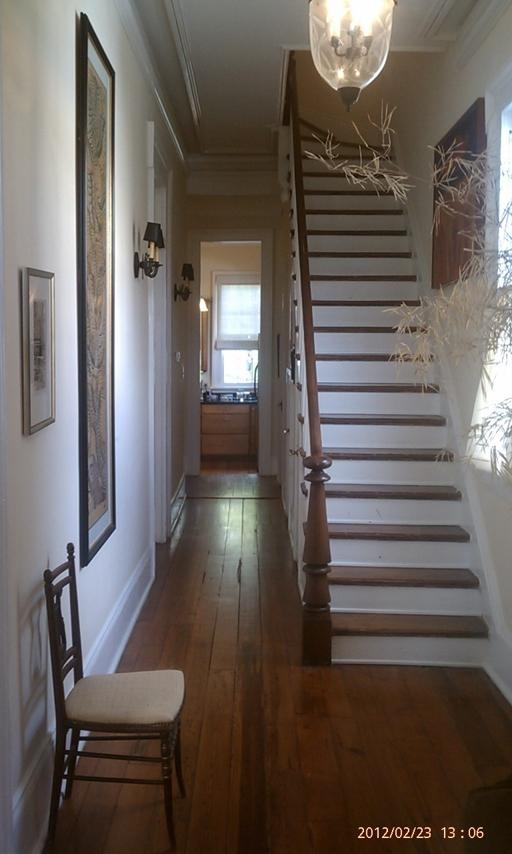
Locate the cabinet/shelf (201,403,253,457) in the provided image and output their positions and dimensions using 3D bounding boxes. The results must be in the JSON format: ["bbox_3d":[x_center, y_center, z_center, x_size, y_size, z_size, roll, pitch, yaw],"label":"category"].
[{"bbox_3d":[-0.431,-0.179,8.408,0.648,1.162,0.585,0,0,0],"label":"cabinet/shelf"}]

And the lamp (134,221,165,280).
[{"bbox_3d":[-0.680,-1.123,3.486,0.150,0.429,0.491,0,3,-7],"label":"lamp"}]

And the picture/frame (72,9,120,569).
[{"bbox_3d":[-0.657,-0.556,2.255,0.088,2.131,0.698,0,2,-11],"label":"picture/frame"}]
